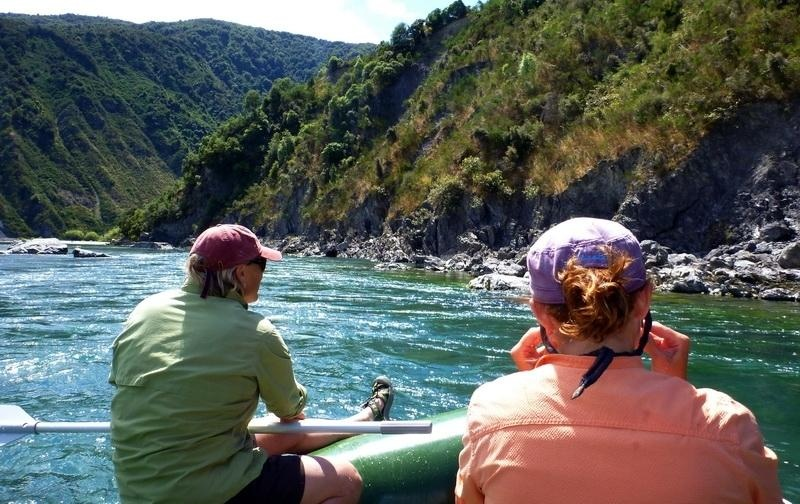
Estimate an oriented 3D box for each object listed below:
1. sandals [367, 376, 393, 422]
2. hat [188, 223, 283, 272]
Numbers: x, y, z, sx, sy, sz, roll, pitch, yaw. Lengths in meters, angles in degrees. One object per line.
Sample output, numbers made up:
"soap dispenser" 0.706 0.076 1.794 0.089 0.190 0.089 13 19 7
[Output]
"sandals" -0.210 1.669 6.665 0.205 0.235 0.577 -6 41 13
"hat" -1.653 -0.038 5.887 0.911 0.464 0.649 -5 3 -39
